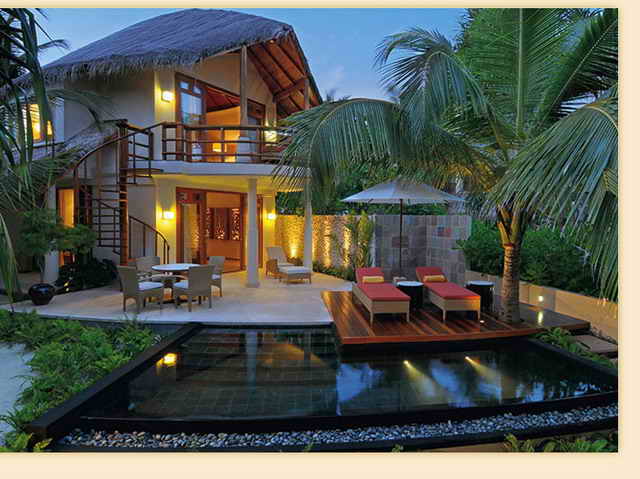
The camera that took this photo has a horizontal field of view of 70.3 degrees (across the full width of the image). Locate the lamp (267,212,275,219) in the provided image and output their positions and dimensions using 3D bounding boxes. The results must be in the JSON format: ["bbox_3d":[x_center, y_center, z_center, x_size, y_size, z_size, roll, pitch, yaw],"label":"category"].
[{"bbox_3d":[-1.901,-0.935,17.978,0.105,0.292,0.513,1,6,17],"label":"lamp"}]

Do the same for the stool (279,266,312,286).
[{"bbox_3d":[-0.763,1.116,14.159,0.985,0.497,1.009,-2,6,-6],"label":"stool"}]

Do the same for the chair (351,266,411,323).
[{"bbox_3d":[1.198,1.111,9.852,0.792,0.754,2.572,-2,6,-6],"label":"chair"}]

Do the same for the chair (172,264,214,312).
[{"bbox_3d":[-2.906,1.091,10.503,0.718,1.020,0.837,-7,8,-42],"label":"chair"}]

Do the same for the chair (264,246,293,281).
[{"bbox_3d":[-1.348,0.749,15.261,0.786,0.950,1.055,-5,6,-38],"label":"chair"}]

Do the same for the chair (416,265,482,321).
[{"bbox_3d":[2.810,1.131,9.729,1.076,0.750,2.015,-1,6,1],"label":"chair"}]

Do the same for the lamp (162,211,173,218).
[{"bbox_3d":[-4.675,-0.743,14.040,0.100,0.246,0.382,2,7,27],"label":"lamp"}]

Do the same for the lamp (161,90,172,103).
[{"bbox_3d":[-4.630,-4.379,13.812,0.148,0.342,0.426,1,7,20],"label":"lamp"}]
